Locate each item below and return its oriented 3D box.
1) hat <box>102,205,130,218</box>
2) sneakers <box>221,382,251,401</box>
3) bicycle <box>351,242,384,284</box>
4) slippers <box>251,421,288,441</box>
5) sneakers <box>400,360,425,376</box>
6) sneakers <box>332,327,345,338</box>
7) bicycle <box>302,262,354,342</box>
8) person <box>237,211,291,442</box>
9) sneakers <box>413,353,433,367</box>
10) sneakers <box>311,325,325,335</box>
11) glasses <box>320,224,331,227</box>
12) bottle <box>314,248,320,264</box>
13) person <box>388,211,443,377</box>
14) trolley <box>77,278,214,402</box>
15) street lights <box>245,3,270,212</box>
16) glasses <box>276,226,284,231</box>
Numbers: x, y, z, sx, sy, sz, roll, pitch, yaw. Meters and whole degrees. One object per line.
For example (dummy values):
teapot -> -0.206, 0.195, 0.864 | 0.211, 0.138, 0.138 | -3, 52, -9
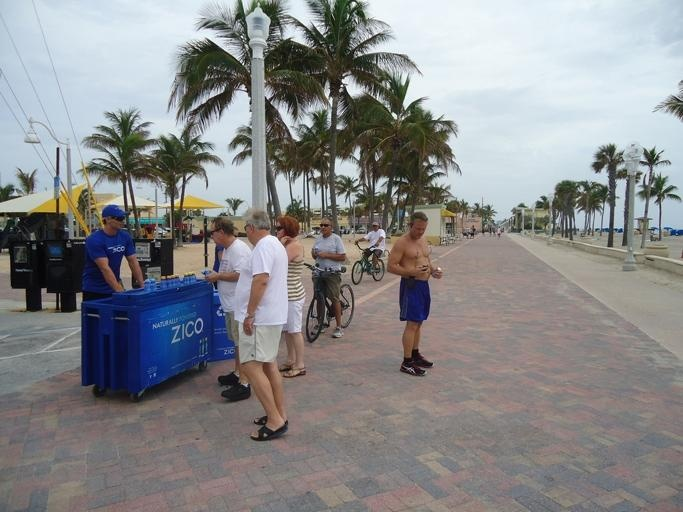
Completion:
hat -> -2.971, -0.568, 6.518 | 0.233, 0.142, 0.171 | -5, 10, -23
sneakers -> -1.237, 1.611, 5.871 | 0.159, 0.118, 0.288 | 7, -2, 42
bicycle -> 0.812, 0.339, 15.564 | 0.731, 0.961, 1.530 | 5, 0, 32
slippers -> -0.735, 1.795, 5.059 | 0.367, 0.126, 0.132 | 3, -7, -24
sneakers -> 0.934, 1.528, 6.699 | 0.338, 0.164, 0.147 | 4, 4, 31
sneakers -> -0.060, 1.342, 8.550 | 0.142, 0.158, 0.389 | -1, -5, 7
bicycle -> -0.112, 0.843, 8.605 | 0.683, 0.898, 1.428 | -2, -3, 22
person -> -0.821, 0.685, 5.137 | 0.527, 2.267, 0.754 | -2, 10, -11
sneakers -> 1.093, 1.453, 6.848 | 0.141, 0.160, 0.354 | -1, 2, -42
sneakers -> -0.413, 1.248, 8.316 | 0.199, 0.120, 0.320 | 0, -4, -3
glasses -> -0.279, -0.506, 8.466 | 0.185, 0.077, 0.113 | 1, 10, 0
bottle -> -0.439, 0.030, 8.415 | 0.081, 0.215, 0.153 | 6, 14, -5
person -> 0.967, 0.497, 6.704 | 0.579, 2.169, 0.713 | 9, 13, 41
trolley -> -2.380, 0.979, 6.339 | 0.869, 1.268, 1.622 | 2, 5, 20
street lights -> -1.437, -2.612, 8.767 | 0.372, 3.545, 0.980 | -1, 10, -9
glasses -> -0.815, -0.350, 6.526 | 0.059, 0.049, 0.058 | 2, 1, 5
